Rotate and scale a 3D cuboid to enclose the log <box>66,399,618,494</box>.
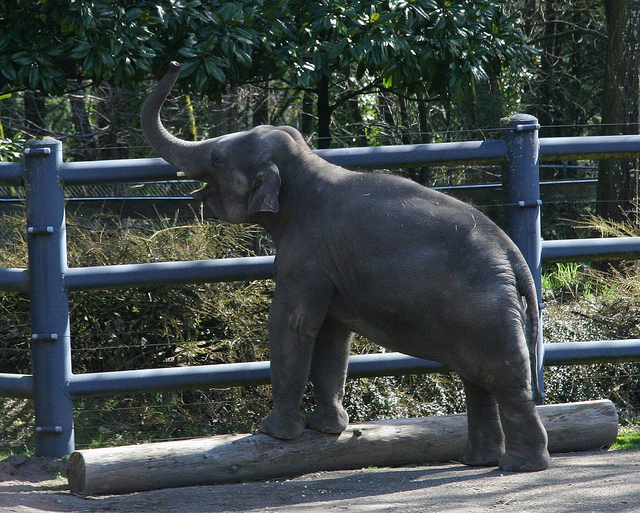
[{"bbox_3d":[0.232,1.186,9.371,3.441,0.296,0.461,-2,6,-10],"label":"log"}]
